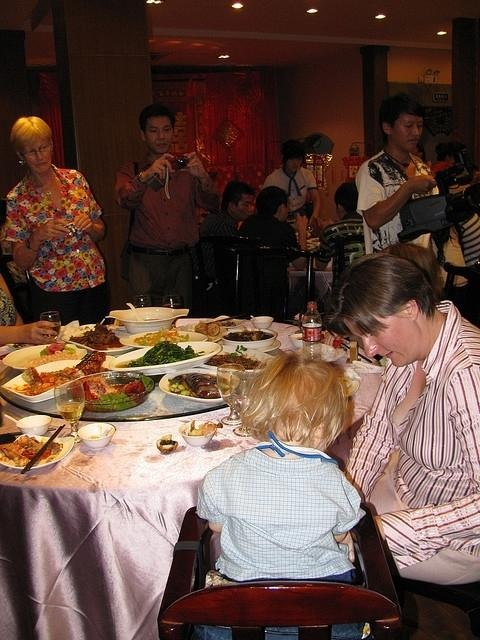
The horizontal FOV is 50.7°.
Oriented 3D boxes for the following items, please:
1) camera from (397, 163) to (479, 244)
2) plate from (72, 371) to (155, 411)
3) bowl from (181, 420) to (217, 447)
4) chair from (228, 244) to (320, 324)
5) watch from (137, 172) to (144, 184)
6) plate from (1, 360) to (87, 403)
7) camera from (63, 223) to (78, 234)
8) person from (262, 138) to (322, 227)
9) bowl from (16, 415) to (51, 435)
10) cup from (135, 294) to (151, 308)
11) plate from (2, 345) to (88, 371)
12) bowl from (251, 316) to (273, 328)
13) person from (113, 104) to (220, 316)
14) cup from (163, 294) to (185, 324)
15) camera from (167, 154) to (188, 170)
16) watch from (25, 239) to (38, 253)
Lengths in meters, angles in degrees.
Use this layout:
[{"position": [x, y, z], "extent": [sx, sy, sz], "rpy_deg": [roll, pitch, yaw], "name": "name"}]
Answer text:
[{"position": [1.037, -0.602, 2.596], "extent": [0.463, 0.358, 0.260], "rpy_deg": [-13, 13, -35], "name": "camera"}, {"position": [-0.322, 0.187, 1.354], "extent": [0.134, 0.031, 0.122], "rpy_deg": [-8, 21, -27], "name": "plate"}, {"position": [-0.094, 0.257, 1.173], "extent": [0.066, 0.040, 0.064], "rpy_deg": [1, 4, 0], "name": "bowl"}, {"position": [0.169, -0.235, 3.508], "extent": [0.540, 0.658, 1.275], "rpy_deg": [-6, 11, 1], "name": "chair"}, {"position": [-0.613, -0.889, 3.149], "extent": [0.020, 0.053, 0.056], "rpy_deg": [1, 4, -3], "name": "watch"}, {"position": [-0.567, 0.175, 1.490], "extent": [0.145, 0.036, 0.180], "rpy_deg": [0, 20, 20], "name": "plate"}, {"position": [-0.863, -0.461, 2.586], "extent": [0.031, 0.059, 0.081], "rpy_deg": [-49, 27, 1], "name": "camera"}, {"position": [0.639, -1.402, 6.281], "extent": [0.705, 1.456, 0.852], "rpy_deg": [-5, 15, -10], "name": "person"}, {"position": [-0.491, 0.253, 1.215], "extent": [0.054, 0.022, 0.054], "rpy_deg": [-1, -4, 0], "name": "bowl"}, {"position": [-0.419, -0.078, 2.193], "extent": [0.066, 0.048, 0.088], "rpy_deg": [-7, 11, -5], "name": "cup"}, {"position": [-0.672, 0.128, 1.719], "extent": [0.144, 0.019, 0.136], "rpy_deg": [-10, 23, -25], "name": "plate"}, {"position": [0.094, 0.008, 2.132], "extent": [0.061, 0.033, 0.061], "rpy_deg": [1, 1, 0], "name": "bowl"}, {"position": [-0.470, -0.723, 3.367], "extent": [0.676, 1.292, 0.546], "rpy_deg": [-9, 12, -12], "name": "person"}, {"position": [-0.271, -0.049, 2.238], "extent": [0.136, 0.113, 0.078], "rpy_deg": [1, 5, 2], "name": "cup"}, {"position": [-0.385, -1.015, 3.257], "extent": [0.118, 0.105, 0.320], "rpy_deg": [-6, 10, -3], "name": "camera"}, {"position": [-1.064, -0.376, 2.603], "extent": [0.064, 0.042, 0.062], "rpy_deg": [7, 7, 8], "name": "watch"}]
